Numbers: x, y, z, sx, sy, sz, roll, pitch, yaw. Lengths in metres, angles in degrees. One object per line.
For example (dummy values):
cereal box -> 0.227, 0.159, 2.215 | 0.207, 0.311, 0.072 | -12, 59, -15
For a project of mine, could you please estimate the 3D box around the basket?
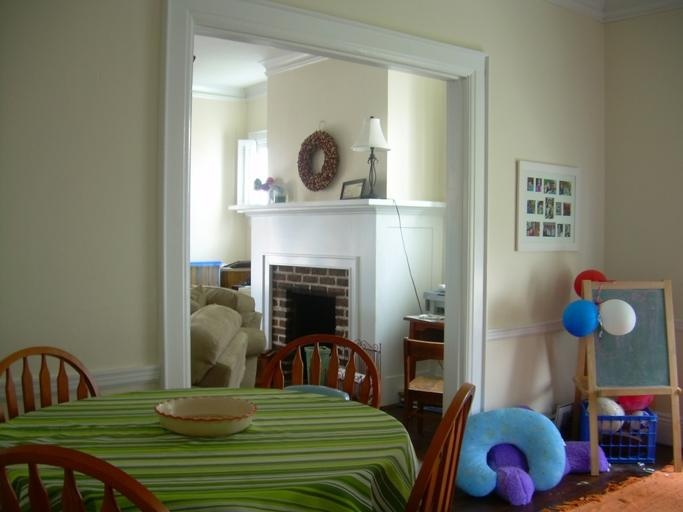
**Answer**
basket -> 2.010, 1.199, 3.656 | 0.349, 0.263, 0.379 | 0, 3, 25

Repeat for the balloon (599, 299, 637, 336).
balloon -> 1.861, 0.419, 3.469 | 0.266, 0.210, 0.284 | -5, -16, 29

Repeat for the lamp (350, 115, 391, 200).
lamp -> 0.296, -0.928, 4.874 | 0.342, 0.731, 0.371 | -3, 7, -27

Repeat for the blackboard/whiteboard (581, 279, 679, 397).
blackboard/whiteboard -> 1.930, 0.553, 3.495 | 0.669, 1.088, 0.108 | 0, -3, -11

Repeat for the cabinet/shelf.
cabinet/shelf -> 0.695, 1.010, 4.146 | 0.438, 0.732, 0.439 | 1, -5, 15

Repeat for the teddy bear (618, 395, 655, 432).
teddy bear -> 2.046, 1.052, 3.623 | 0.230, 0.073, 0.230 | -4, 2, -35

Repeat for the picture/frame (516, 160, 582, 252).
picture/frame -> 1.503, -0.375, 3.826 | 0.615, 0.667, 0.025 | -1, 1, -38
